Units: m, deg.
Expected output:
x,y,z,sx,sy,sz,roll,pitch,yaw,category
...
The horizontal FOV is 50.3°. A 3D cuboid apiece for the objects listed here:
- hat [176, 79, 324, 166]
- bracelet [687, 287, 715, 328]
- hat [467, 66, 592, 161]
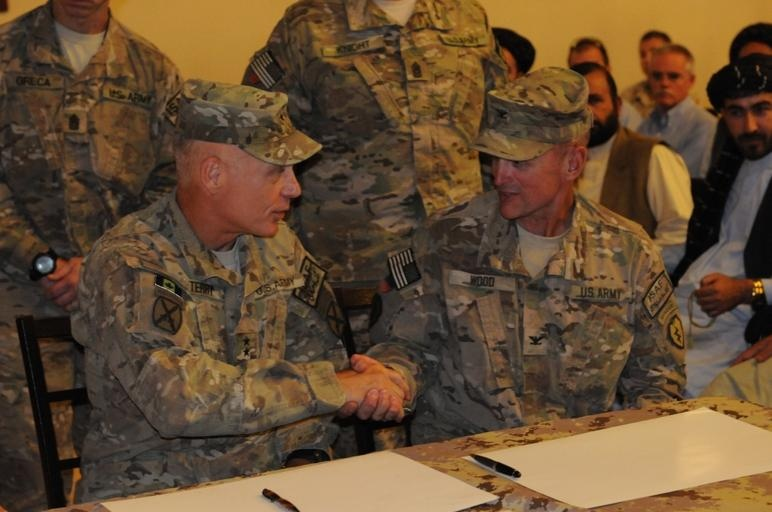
x,y,z,sx,sy,sz,roll,pitch,yaw,category
-0.528,-0.474,3.144,0.531,0.189,0.300,11,27,3,hat
1.750,0.305,4.560,0.210,0.246,0.066,1,9,10,bracelet
0.596,-0.568,3.335,0.485,0.174,0.340,-36,48,-27,hat
